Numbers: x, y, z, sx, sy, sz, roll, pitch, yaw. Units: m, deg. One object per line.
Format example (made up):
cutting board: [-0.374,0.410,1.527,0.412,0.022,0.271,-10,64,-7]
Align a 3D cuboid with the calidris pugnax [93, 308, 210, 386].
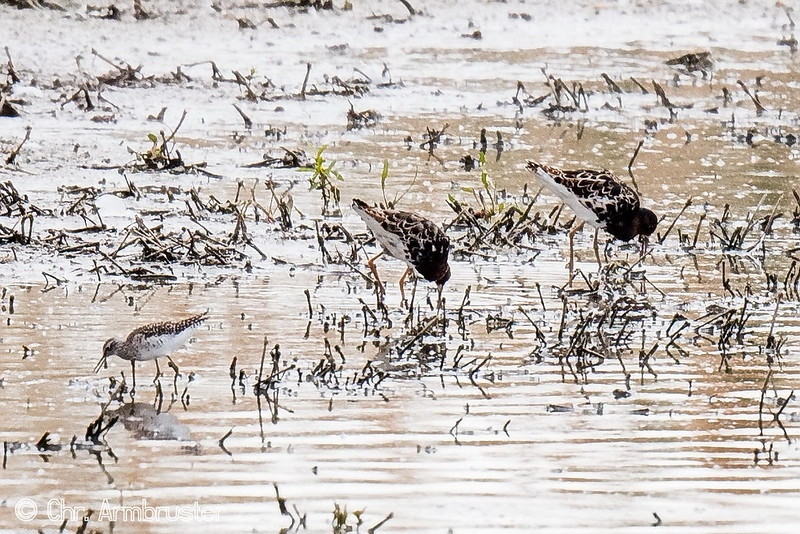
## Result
calidris pugnax: [-1.958,0.658,8.492,0.275,0.390,1.007,-10,-1,45]
